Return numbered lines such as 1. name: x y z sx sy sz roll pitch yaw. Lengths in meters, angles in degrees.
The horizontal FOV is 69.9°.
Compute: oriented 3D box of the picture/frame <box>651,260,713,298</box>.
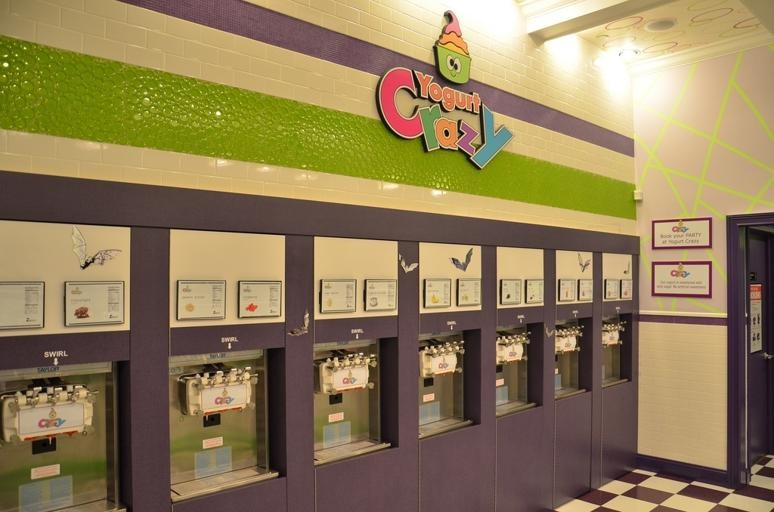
1. picture/frame: 3.494 0.279 6.492 0.045 0.320 0.437 0 2 -44
